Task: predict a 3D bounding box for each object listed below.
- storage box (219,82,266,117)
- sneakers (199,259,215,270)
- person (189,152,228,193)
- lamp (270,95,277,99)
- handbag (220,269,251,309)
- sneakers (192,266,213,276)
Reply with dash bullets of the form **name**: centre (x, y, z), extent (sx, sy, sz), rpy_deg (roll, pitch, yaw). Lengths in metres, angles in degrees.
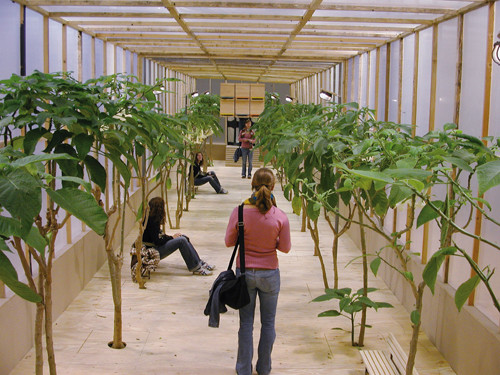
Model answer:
- **storage box**: centre (-0.190, -2.257, 11.187), extent (1.254, 1.047, 0.890), rpy_deg (1, 10, 2)
- **sneakers**: centre (-0.561, 1.022, 5.708), extent (0.229, 0.106, 0.094), rpy_deg (18, 13, -34)
- **person**: centre (-1.090, -0.371, 10.788), extent (1.082, 1.432, 0.573), rpy_deg (-3, 25, -7)
- **lamp**: centre (0.728, -2.871, 13.954), extent (0.227, 0.111, 0.285), rpy_deg (0, -12, 0)
- **handbag**: centre (-0.116, 0.799, 3.409), extent (0.287, 0.333, 0.161), rpy_deg (0, 1, 41)
- **sneakers**: centre (-0.616, 1.049, 5.603), extent (0.204, 0.097, 0.123), rpy_deg (-2, 4, 2)
